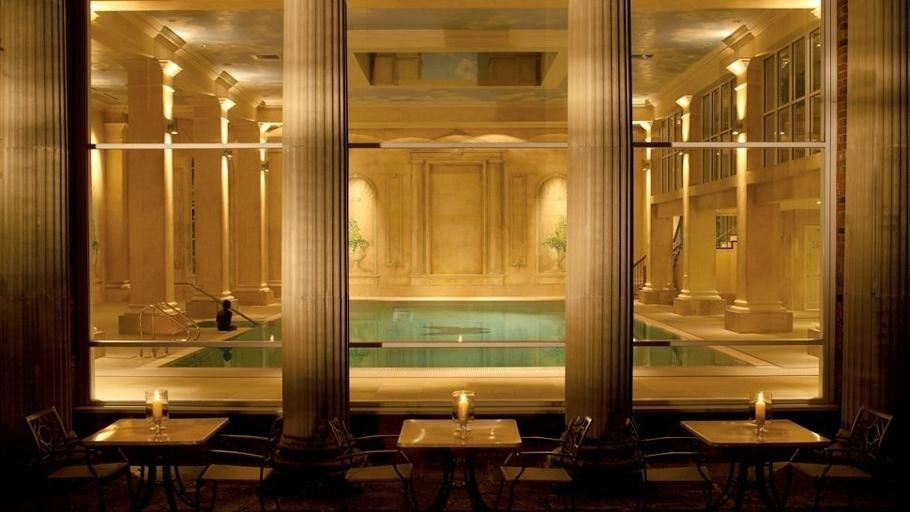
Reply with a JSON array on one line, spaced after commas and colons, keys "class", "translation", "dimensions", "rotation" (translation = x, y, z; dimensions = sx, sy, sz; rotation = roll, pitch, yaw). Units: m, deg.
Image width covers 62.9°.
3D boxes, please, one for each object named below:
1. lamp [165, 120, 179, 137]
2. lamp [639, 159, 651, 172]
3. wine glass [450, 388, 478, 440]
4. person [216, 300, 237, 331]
[{"class": "lamp", "translation": [-6.812, -3.085, 17.840], "dimensions": [0.189, 0.290, 0.573], "rotation": [-1, 1, -7]}, {"class": "lamp", "translation": [6.556, -3.106, 25.682], "dimensions": [0.384, 0.295, 0.635], "rotation": [-4, 1, 2]}, {"class": "wine glass", "translation": [0.109, 2.228, 10.582], "dimensions": [0.273, 0.606, 0.381], "rotation": [0, 0, 3]}, {"class": "person", "translation": [-5.600, 1.450, 18.149], "dimensions": [0.442, 0.596, 1.040], "rotation": [-1, 1, -17]}]
